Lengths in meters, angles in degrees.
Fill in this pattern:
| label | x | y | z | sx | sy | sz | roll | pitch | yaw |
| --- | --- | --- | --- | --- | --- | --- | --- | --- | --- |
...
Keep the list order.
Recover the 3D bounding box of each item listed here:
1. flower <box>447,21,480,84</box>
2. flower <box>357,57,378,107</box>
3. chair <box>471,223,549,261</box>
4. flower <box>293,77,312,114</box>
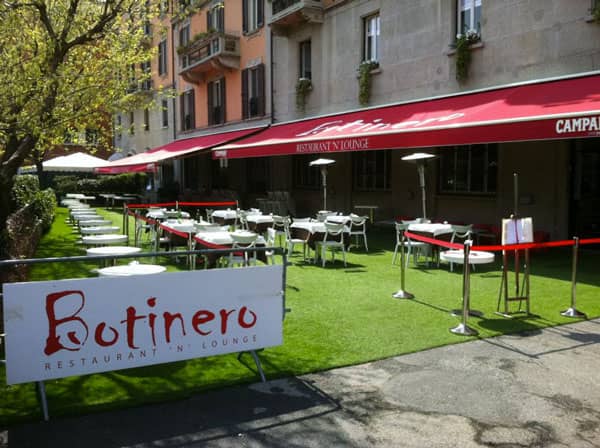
| label | x | y | z | sx | sy | sz | roll | pitch | yaw |
| --- | --- | --- | --- | --- | --- | --- | --- | --- | --- |
| flower | 4.365 | -4.321 | 14.130 | 0.536 | 1.388 | 0.413 | 2 | 13 | 5 |
| flower | 2.117 | -4.421 | 17.141 | 0.718 | 1.385 | 0.446 | 7 | 14 | 24 |
| chair | 3.076 | 0.188 | 7.852 | 0.906 | 0.508 | 0.418 | -6 | 15 | -29 |
| flower | 0.142 | -4.764 | 20.207 | 0.855 | 1.198 | 0.272 | 12 | 17 | 39 |
